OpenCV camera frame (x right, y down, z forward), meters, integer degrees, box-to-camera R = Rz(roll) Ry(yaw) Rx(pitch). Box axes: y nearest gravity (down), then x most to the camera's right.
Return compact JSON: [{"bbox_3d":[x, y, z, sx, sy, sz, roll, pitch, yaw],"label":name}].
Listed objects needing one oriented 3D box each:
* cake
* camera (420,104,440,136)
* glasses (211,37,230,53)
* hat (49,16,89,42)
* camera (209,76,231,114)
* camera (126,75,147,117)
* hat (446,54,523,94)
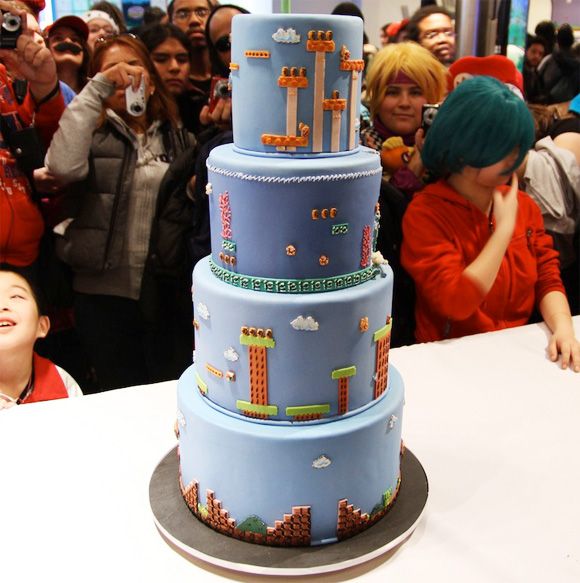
[{"bbox_3d":[-0.008,-0.022,1.433,0.605,1.165,0.440,3,19,8],"label":"cake"},{"bbox_3d":[0.558,-0.685,2.414,0.063,0.126,0.298,4,22,12],"label":"camera"},{"bbox_3d":[-0.306,-1.073,2.664,0.068,0.073,0.072,-15,9,-8],"label":"glasses"},{"bbox_3d":[-0.952,-1.131,2.588,0.167,0.103,0.106,-6,21,-17],"label":"hat"},{"bbox_3d":[-0.275,-0.794,2.467,0.089,0.136,0.043,29,18,31],"label":"camera"},{"bbox_3d":[-0.620,-0.776,2.438,0.086,0.149,0.075,-5,20,-15],"label":"camera"},{"bbox_3d":[0.898,-1.004,2.785,0.331,0.151,0.197,7,21,16],"label":"hat"}]
